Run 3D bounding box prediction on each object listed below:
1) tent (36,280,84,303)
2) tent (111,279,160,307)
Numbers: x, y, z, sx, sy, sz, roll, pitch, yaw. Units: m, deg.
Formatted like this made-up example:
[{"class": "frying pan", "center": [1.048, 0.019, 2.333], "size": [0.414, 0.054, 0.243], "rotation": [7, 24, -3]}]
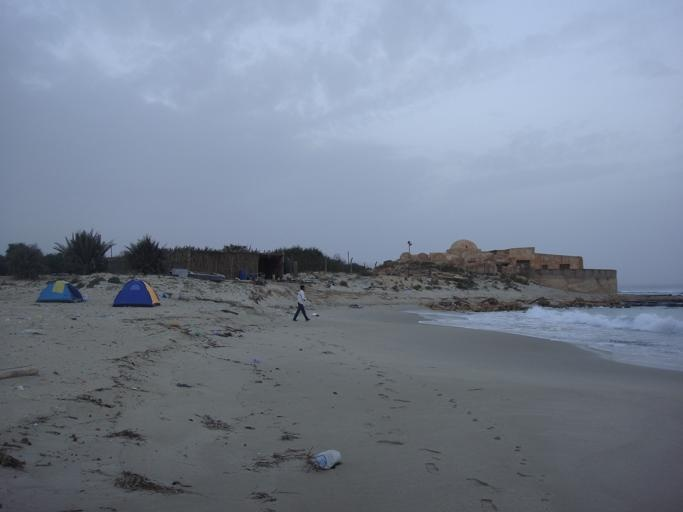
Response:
[{"class": "tent", "center": [-7.405, 0.994, 14.517], "size": [0.749, 0.346, 0.747], "rotation": [0, -1, -17]}, {"class": "tent", "center": [-5.401, 1.038, 14.479], "size": [0.825, 0.550, 0.821], "rotation": [-1, -1, -10]}]
